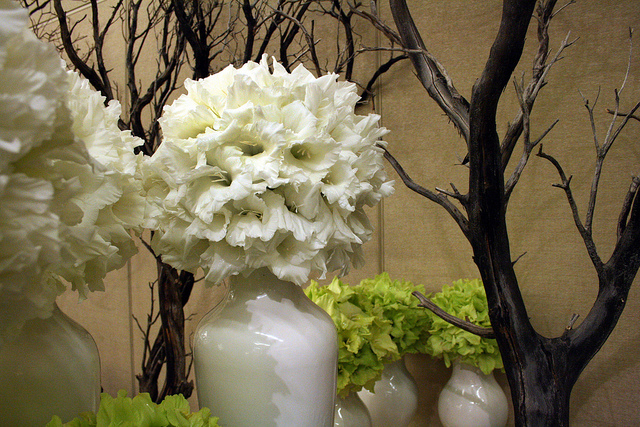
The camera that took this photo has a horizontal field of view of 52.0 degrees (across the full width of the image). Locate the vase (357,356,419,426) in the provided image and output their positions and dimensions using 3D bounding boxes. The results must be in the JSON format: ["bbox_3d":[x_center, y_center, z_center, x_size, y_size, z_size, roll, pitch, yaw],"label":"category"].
[{"bbox_3d":[0.219,0.527,2.039,0.191,0.304,0.188,0,-5,8],"label":"vase"}]
